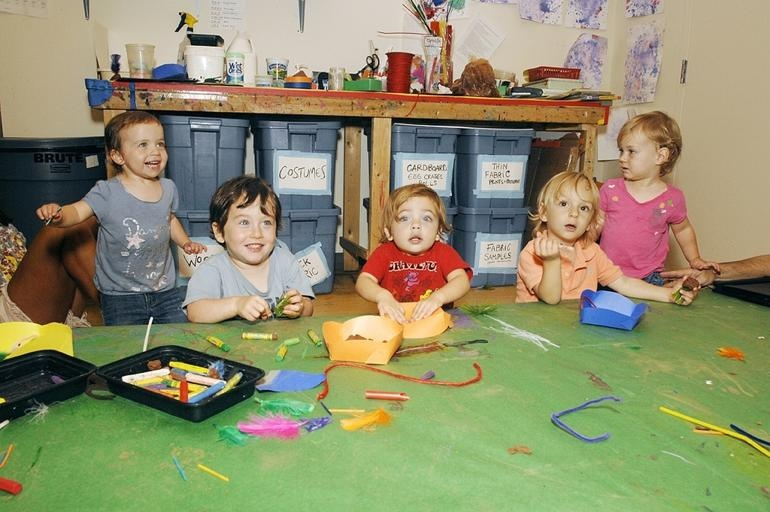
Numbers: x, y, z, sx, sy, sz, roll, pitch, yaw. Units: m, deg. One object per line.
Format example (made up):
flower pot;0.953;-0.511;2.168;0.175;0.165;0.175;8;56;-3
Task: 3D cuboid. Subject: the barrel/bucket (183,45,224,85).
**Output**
barrel/bucket;-0.847;-0.898;2.606;0.201;0.139;0.197;1;18;0

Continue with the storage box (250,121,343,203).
storage box;-0.484;-0.476;2.887;0.453;0.444;0.331;-5;11;-28

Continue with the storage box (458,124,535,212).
storage box;0.748;-0.465;3.118;0.408;0.450;0.403;10;3;44

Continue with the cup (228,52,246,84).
cup;-0.717;-0.884;2.586;0.086;0.139;0.063;-2;17;-3

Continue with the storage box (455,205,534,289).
storage box;0.584;-0.066;3.250;0.541;0.452;0.521;4;6;22

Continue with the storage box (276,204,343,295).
storage box;-0.502;-0.023;2.951;0.479;0.426;0.443;-2;0;-15

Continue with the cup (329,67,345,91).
cup;-0.244;-0.888;2.739;0.073;0.097;0.046;-3;18;-9

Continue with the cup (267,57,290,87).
cup;-0.532;-0.917;2.753;0.147;0.147;0.141;1;12;0

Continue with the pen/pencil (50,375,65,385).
pen/pencil;-0.674;0.255;1.122;0.030;0.007;0.028;3;17;-6

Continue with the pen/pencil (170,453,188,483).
pen/pencil;-0.365;0.373;0.968;0.017;0.015;0.065;-2;35;-33

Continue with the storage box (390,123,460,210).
storage box;0.170;-0.505;3.054;0.434;0.443;0.383;1;17;-4

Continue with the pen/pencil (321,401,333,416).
pen/pencil;-0.118;0.304;1.094;0.011;0.006;0.045;10;7;-31

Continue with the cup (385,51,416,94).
cup;0.069;-0.923;2.756;0.211;0.238;0.189;5;22;7

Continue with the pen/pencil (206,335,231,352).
pen/pencil;-0.389;0.203;1.274;0.024;0.021;0.081;-25;31;-38

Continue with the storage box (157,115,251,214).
storage box;-0.857;-0.429;2.805;0.496;0.505;0.363;3;1;0
